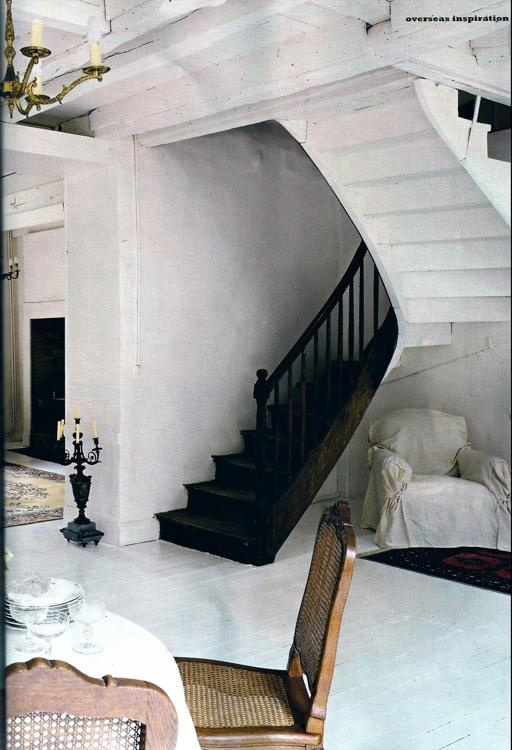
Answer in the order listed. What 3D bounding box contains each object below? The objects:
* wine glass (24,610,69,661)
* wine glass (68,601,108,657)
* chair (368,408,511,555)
[{"bbox_3d":[-0.395,0.510,1.250,0.079,0.087,0.079,7,31,3],"label":"wine glass"},{"bbox_3d":[-0.348,0.522,1.377,0.071,0.086,0.070,3,-5,-19],"label":"wine glass"},{"bbox_3d":[1.254,0.708,4.721,0.786,0.782,0.910,0,-6,0],"label":"chair"}]
